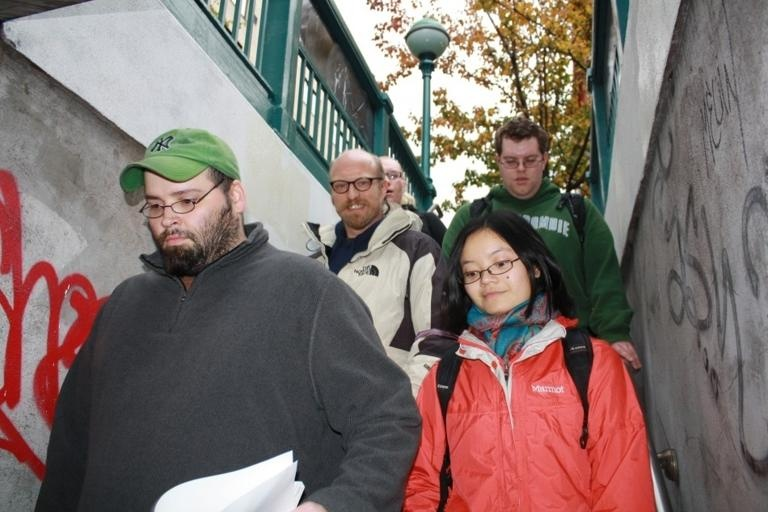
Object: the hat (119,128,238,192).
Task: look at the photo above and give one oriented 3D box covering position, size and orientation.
[{"bbox_3d":[-1.065,-0.459,3.380,0.321,0.275,0.491,-6,-9,32],"label":"hat"}]
